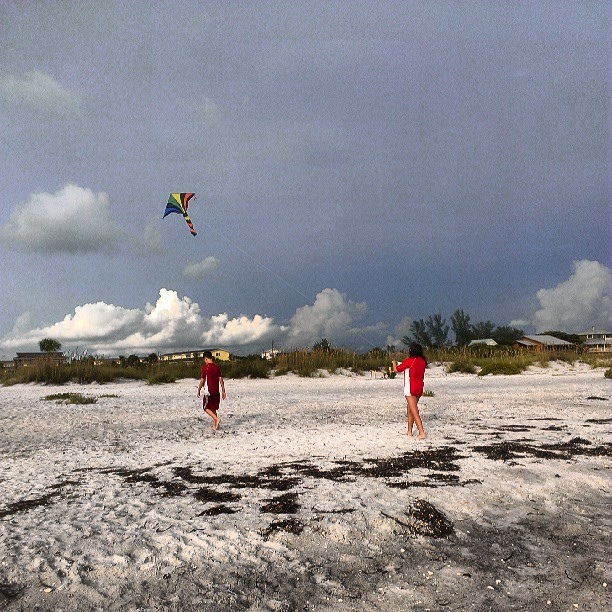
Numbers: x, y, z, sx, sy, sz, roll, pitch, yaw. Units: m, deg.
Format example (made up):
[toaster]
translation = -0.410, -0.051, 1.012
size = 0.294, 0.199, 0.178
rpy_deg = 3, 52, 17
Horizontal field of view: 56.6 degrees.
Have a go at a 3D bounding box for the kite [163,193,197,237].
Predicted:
[kite]
translation = -3.893, -2.916, 17.491
size = 0.741, 1.119, 2.580
rpy_deg = 0, -1, -13

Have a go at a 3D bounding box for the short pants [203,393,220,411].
[short pants]
translation = -1.610, 1.666, 9.761
size = 0.261, 0.498, 0.201
rpy_deg = 6, -11, -42

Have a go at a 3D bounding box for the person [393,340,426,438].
[person]
translation = 1.743, 1.284, 9.294
size = 0.404, 1.130, 3.232
rpy_deg = 0, -1, 12
